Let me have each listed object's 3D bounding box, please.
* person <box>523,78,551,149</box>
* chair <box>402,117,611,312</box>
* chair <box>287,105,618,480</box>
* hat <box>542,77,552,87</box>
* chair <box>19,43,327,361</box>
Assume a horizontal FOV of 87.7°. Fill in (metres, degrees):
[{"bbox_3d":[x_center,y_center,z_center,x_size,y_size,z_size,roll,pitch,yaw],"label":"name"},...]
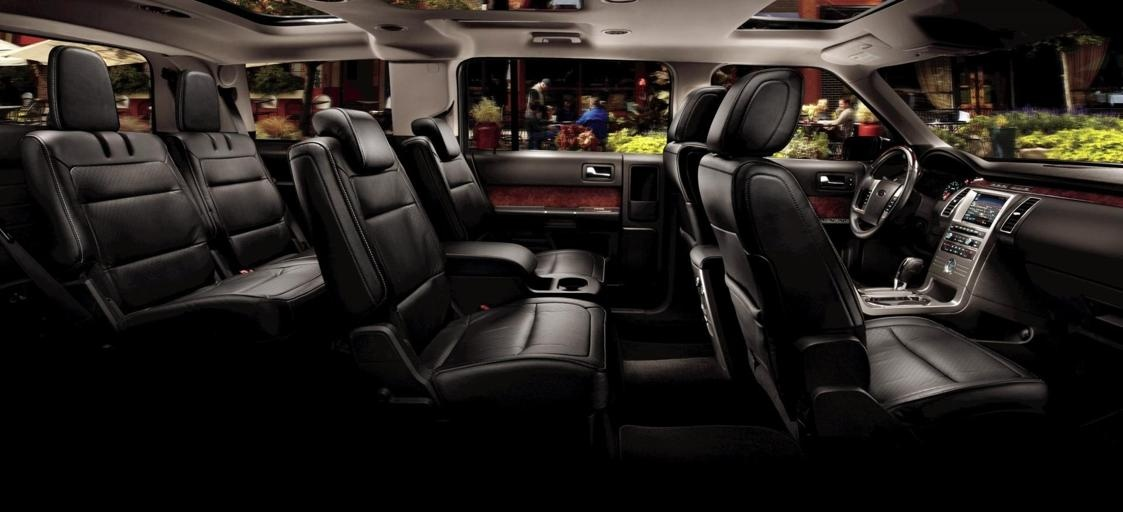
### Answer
[{"bbox_3d":[-0.225,-1.385,5.619,0.287,0.650,0.171,-9,35,-12],"label":"person"},{"bbox_3d":[-0.579,-0.449,4.983,2.016,1.489,1.905,-2,8,1],"label":"chair"},{"bbox_3d":[-0.664,0.187,3.568,1.975,2.028,1.164,17,27,35],"label":"chair"},{"bbox_3d":[-0.152,-1.675,5.580,0.078,0.081,0.030,7,-14,5],"label":"hat"},{"bbox_3d":[-2.437,-0.403,4.217,2.146,1.834,1.384,8,13,5],"label":"chair"}]
